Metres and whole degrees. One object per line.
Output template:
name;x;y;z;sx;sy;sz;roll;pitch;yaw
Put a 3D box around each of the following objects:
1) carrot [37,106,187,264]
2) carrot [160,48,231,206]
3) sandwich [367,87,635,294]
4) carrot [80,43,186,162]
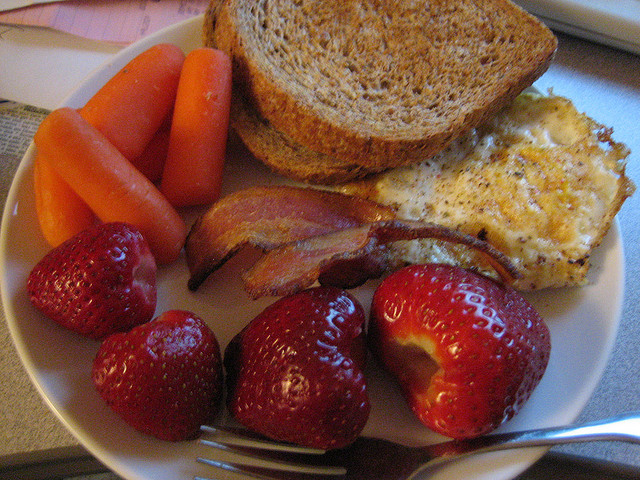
carrot;-0.474;-0.135;1.555;0.149;0.513;0.175;-29;15;12
carrot;-0.293;-0.264;1.579;0.147;0.419;0.139;6;-2;-11
sandwich;0.435;-0.108;1.538;0.516;0.521;0.143;42;-5;41
carrot;-0.440;-0.335;1.649;0.156;0.346;0.145;38;-9;-10
